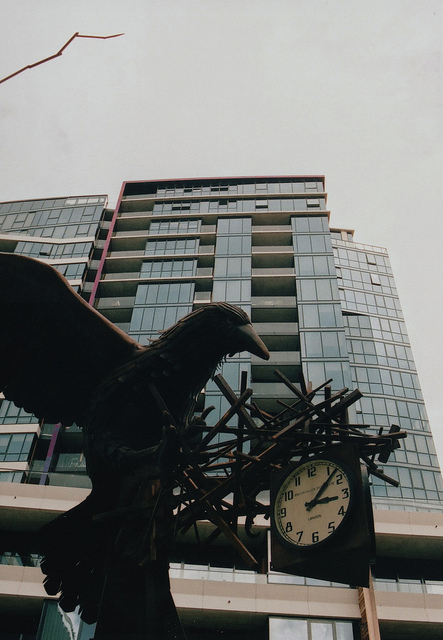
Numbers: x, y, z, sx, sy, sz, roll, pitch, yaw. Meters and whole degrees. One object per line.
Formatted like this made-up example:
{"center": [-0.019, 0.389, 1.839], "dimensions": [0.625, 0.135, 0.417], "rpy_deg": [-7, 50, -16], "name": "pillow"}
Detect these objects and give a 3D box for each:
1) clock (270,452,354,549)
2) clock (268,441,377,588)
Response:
{"center": [1.531, 3.033, 11.912], "dimensions": [1.660, 1.800, 0.270], "rpy_deg": [-22, -55, 32], "name": "clock"}
{"center": [1.691, 3.130, 11.946], "dimensions": [1.827, 2.076, 0.561], "rpy_deg": [-26, -52, 32], "name": "clock"}
